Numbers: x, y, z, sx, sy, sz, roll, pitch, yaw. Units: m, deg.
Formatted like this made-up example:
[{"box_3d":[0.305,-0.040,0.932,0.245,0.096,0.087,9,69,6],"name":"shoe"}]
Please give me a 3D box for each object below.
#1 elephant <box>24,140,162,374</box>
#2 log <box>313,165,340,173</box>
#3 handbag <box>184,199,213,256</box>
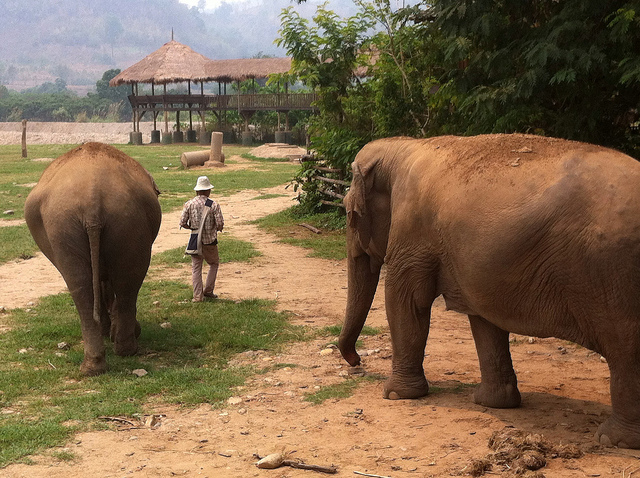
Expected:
[{"box_3d":[-2.422,0.144,8.742,1.260,2.273,1.451,-3,12,-8],"name":"elephant"},{"box_3d":[0.144,-1.485,16.951,0.094,0.102,0.680,-17,23,-37],"name":"log"},{"box_3d":[-1.608,-0.163,10.702,0.171,0.685,0.422,13,12,3],"name":"handbag"}]
